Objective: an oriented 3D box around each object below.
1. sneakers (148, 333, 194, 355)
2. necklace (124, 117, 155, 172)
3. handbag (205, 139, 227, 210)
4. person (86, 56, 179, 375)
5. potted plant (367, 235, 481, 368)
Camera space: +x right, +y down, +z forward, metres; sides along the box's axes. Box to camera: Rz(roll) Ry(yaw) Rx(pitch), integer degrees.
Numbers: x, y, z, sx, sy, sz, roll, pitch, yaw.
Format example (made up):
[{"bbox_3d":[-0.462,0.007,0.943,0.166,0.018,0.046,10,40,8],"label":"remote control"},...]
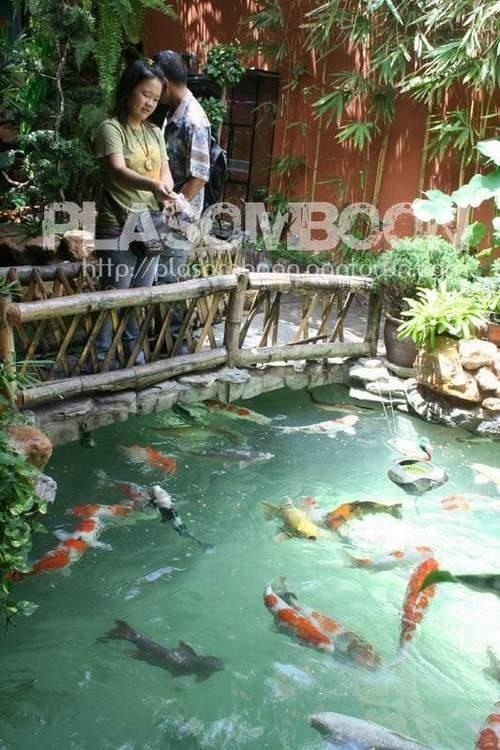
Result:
[{"bbox_3d":[-0.655,-0.243,4.696,0.191,0.093,0.254,13,12,27],"label":"sneakers"},{"bbox_3d":[-0.696,-1.472,3.653,0.089,0.289,0.015,-11,-3,-29],"label":"necklace"},{"bbox_3d":[-0.286,-1.647,4.569,0.258,0.478,0.329,-2,47,-10],"label":"handbag"},{"bbox_3d":[-0.775,-1.262,3.737,0.502,1.401,0.699,4,7,-14],"label":"person"},{"bbox_3d":[1.736,-0.800,5.921,1.043,1.390,1.260,-1,19,-8],"label":"potted plant"}]
